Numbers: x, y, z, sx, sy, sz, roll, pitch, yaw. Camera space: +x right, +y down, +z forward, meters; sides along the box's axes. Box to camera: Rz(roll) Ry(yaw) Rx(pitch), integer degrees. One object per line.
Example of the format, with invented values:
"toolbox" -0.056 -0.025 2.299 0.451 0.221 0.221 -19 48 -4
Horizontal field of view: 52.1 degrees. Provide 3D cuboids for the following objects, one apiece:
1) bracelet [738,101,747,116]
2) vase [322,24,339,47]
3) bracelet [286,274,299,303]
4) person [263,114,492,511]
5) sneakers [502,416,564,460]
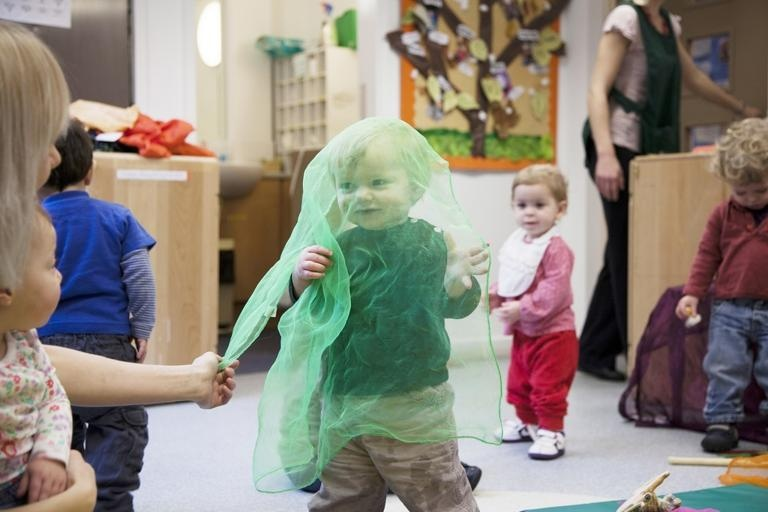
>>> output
"bracelet" 1.474 -0.606 3.249 0.015 0.040 0.029 4 11 2
"vase" -0.334 -1.307 4.671 0.066 0.137 0.181 -7 11 -29
"bracelet" -0.224 0.080 1.993 0.021 0.057 0.040 -8 32 -4
"person" -0.036 0.145 1.950 0.579 0.949 0.273 0 10 8
"sneakers" 0.519 0.635 2.779 0.140 0.092 0.266 -7 11 -31
